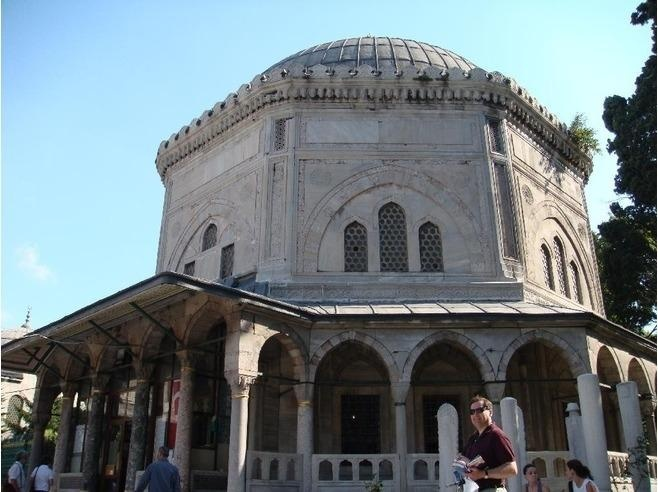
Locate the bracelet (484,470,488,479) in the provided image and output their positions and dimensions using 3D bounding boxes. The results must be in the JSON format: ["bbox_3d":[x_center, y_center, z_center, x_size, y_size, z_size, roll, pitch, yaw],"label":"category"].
[{"bbox_3d":[1.938,2.822,7.301,0.048,0.077,0.064,-4,-26,8],"label":"bracelet"}]

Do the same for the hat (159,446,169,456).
[{"bbox_3d":[-3.067,3.842,11.089,0.147,0.203,0.193,7,-7,-7],"label":"hat"}]

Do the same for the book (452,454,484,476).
[{"bbox_3d":[1.723,2.681,7.306,0.320,0.140,0.195,-9,13,-9],"label":"book"}]
